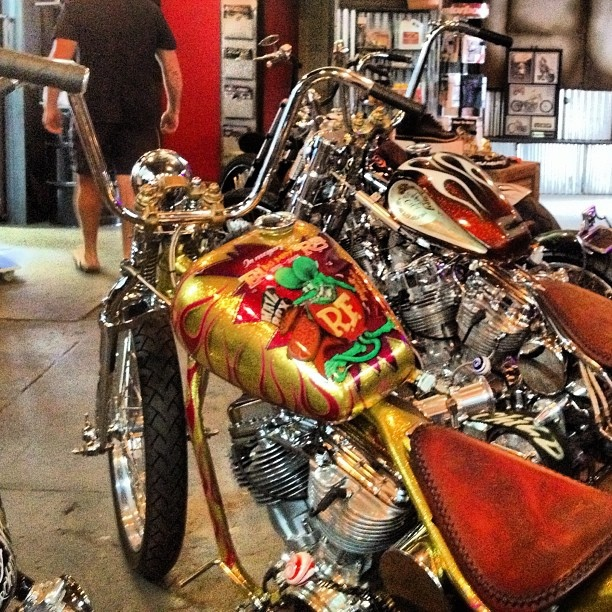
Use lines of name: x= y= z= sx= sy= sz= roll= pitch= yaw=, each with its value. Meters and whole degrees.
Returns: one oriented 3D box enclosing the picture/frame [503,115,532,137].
picture/frame: x=3.229 y=-2.739 z=8.484 sx=0.410 sy=0.289 sz=0.051 roll=2 pitch=23 yaw=6
